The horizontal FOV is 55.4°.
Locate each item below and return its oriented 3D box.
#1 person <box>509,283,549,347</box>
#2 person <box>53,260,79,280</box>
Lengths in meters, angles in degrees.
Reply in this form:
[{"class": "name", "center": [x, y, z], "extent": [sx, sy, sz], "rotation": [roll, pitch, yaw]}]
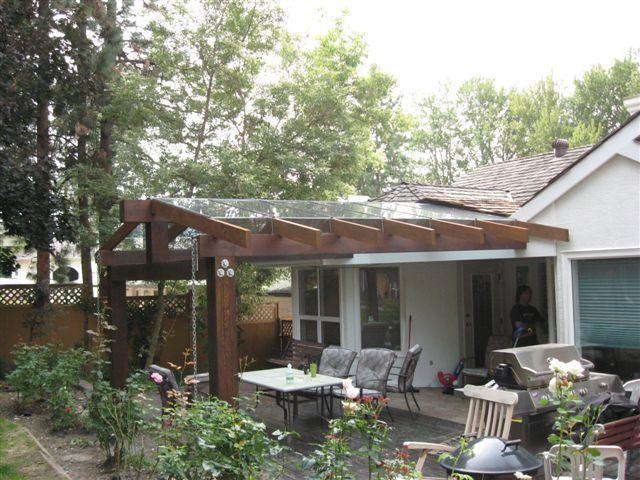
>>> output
[{"class": "person", "center": [4.441, 1.603, 13.073], "extent": [0.692, 1.339, 1.980], "rotation": [-1, -9, 20]}, {"class": "person", "center": [-8.445, 1.022, 20.342], "extent": [0.216, 0.797, 0.833], "rotation": [14, 23, 39]}]
